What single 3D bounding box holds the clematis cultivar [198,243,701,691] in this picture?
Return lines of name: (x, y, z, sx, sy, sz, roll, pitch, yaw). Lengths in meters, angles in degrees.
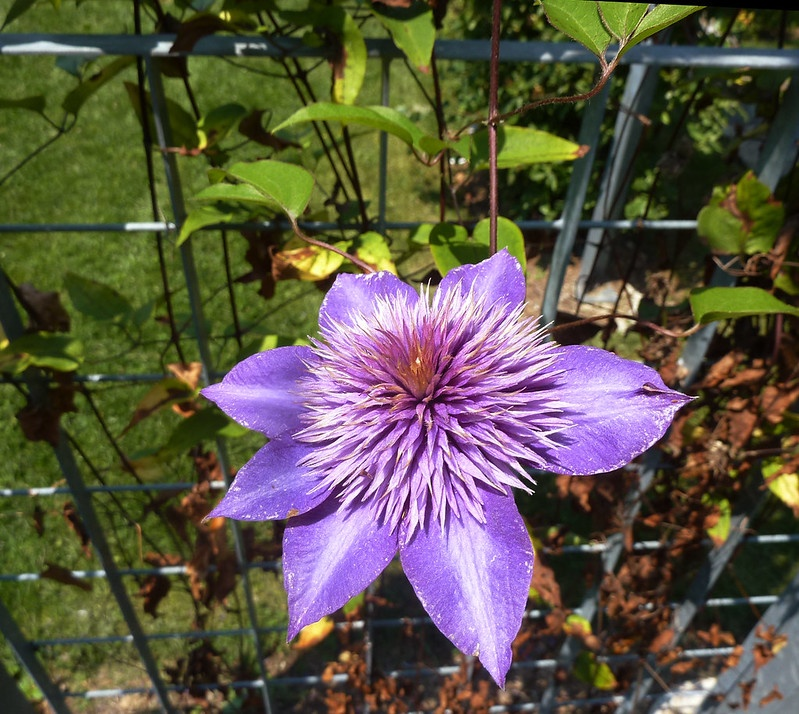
clematis cultivar: (0.027, 0.131, 1.309, 0.553, 0.422, 0.571, -28, 43, -35)
